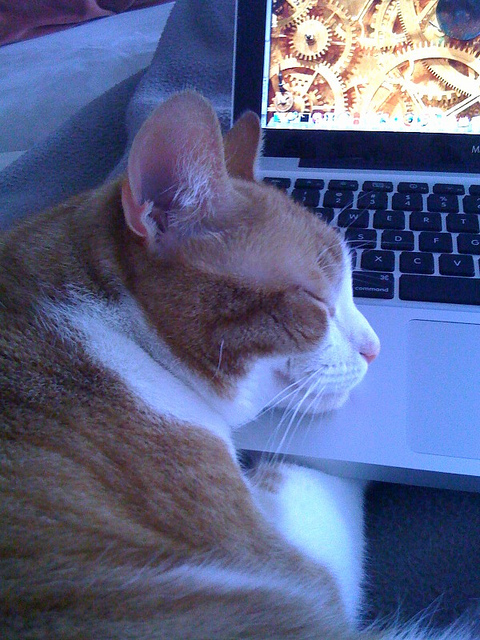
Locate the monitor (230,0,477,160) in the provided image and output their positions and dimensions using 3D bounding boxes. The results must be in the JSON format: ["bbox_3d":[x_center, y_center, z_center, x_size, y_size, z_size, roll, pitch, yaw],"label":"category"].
[{"bbox_3d":[0.163,-0.332,0.842,0.279,0.011,0.177,1,93,10],"label":"monitor"}]
